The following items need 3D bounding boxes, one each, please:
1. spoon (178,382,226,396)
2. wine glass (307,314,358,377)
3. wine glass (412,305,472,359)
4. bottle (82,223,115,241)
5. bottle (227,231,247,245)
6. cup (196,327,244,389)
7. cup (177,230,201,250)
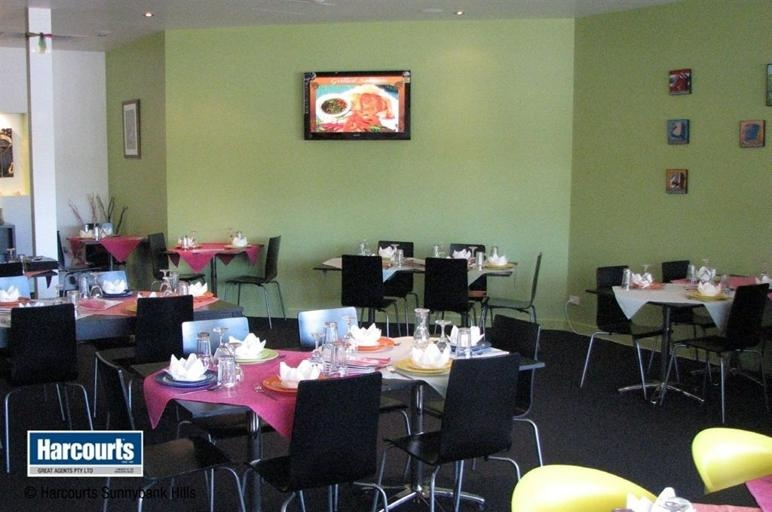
[{"bbox_3d":[-1.060,0.756,3.574,0.269,0.030,0.071,0,10,-16],"label":"spoon"},{"bbox_3d":[-0.324,0.551,3.913,0.261,0.352,0.330,8,10,37],"label":"wine glass"},{"bbox_3d":[0.364,0.499,4.047,0.405,0.381,0.223,-1,4,-11],"label":"wine glass"},{"bbox_3d":[-3.964,-0.342,8.566,0.353,0.169,0.475,0,0,-3],"label":"bottle"},{"bbox_3d":[-1.882,-0.225,7.941,0.213,0.196,0.208,-13,16,-30],"label":"bottle"},{"bbox_3d":[-0.973,0.609,3.751,0.290,0.377,0.348,-2,13,-5],"label":"cup"},{"bbox_3d":[-2.453,-0.216,7.875,0.335,0.280,0.268,-1,3,-39],"label":"cup"}]
